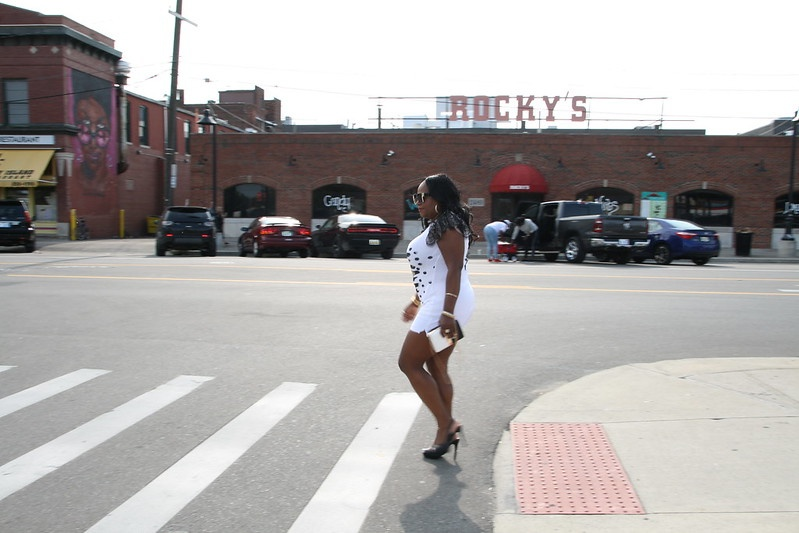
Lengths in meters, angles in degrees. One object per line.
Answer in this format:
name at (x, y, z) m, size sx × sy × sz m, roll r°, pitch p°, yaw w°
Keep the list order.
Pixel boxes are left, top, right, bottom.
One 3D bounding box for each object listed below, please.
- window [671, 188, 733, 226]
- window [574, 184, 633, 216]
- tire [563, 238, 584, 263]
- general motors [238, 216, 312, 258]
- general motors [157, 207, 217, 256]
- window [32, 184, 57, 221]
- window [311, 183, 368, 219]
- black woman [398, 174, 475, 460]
window at (15.402, -3.058, 34.136) m, size 2.927 × 1.192 × 0.104 m, roll 5°, pitch 14°, yaw 31°
window at (9.437, -3.077, 31.135) m, size 4.229 × 1.595 × 0.156 m, roll 2°, pitch 13°, yaw 3°
tire at (5.969, -0.559, 23.147) m, size 0.489 × 0.787 × 1.099 m, roll 1°, pitch 7°, yaw -26°
general motors at (-4.635, -1.013, 24.888) m, size 1.811 × 1.560 × 2.439 m, roll -5°, pitch 12°, yaw -26°
general motors at (-7.718, -1.207, 24.119) m, size 2.060 × 1.832 × 0.877 m, roll -3°, pitch 14°, yaw -16°
window at (-18.480, -3.235, 35.183) m, size 1.372 × 1.764 × 0.339 m, roll 3°, pitch 14°, yaw 12°
window at (-3.029, -3.418, 34.317) m, size 4.647 × 1.729 × 0.081 m, roll 0°, pitch -1°, yaw 1°
black woman at (0.310, 0.431, 5.767) m, size 0.596 × 2.412 × 0.704 m, roll 1°, pitch 14°, yaw 5°
